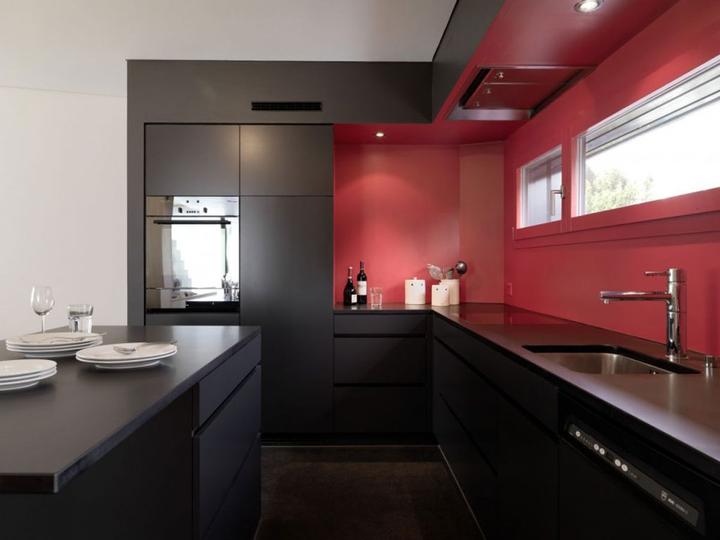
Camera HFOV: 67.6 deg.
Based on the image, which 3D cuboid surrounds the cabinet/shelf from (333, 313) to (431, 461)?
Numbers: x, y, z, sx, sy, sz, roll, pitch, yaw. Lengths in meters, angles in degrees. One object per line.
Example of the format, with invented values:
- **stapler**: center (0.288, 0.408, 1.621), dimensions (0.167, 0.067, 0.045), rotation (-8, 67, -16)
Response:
- **cabinet/shelf**: center (0.127, 0.678, 4.131), dimensions (0.734, 1.006, 0.681), rotation (-2, 12, -4)

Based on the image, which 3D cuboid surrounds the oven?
- **oven**: center (-1.110, -0.118, 4.135), dimensions (0.754, 1.161, 0.728), rotation (0, -4, -4)

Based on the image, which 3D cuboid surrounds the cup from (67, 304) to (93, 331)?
- **cup**: center (-1.333, 0.221, 2.589), dimensions (0.111, 0.136, 0.116), rotation (0, 0, 0)

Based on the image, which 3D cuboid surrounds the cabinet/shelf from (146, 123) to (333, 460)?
- **cabinet/shelf**: center (-0.873, 0.132, 4.044), dimensions (1.294, 2.288, 0.770), rotation (-2, -12, -8)

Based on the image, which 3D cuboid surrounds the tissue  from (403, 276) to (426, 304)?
- **tissue **: center (0.410, 0.164, 4.172), dimensions (0.164, 0.204, 0.172), rotation (0, -3, -1)

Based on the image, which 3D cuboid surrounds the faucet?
- **faucet**: center (1.204, 0.185, 2.290), dimensions (0.338, 0.362, 0.092), rotation (-1, 3, 8)

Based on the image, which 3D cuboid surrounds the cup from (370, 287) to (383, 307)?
- **cup**: center (0.122, 0.219, 4.211), dimensions (0.110, 0.164, 0.116), rotation (-1, -4, 0)

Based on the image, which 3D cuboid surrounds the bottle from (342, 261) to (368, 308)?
- **bottle**: center (-0.038, 0.095, 4.239), dimensions (0.189, 0.316, 0.314), rotation (0, 7, 1)
